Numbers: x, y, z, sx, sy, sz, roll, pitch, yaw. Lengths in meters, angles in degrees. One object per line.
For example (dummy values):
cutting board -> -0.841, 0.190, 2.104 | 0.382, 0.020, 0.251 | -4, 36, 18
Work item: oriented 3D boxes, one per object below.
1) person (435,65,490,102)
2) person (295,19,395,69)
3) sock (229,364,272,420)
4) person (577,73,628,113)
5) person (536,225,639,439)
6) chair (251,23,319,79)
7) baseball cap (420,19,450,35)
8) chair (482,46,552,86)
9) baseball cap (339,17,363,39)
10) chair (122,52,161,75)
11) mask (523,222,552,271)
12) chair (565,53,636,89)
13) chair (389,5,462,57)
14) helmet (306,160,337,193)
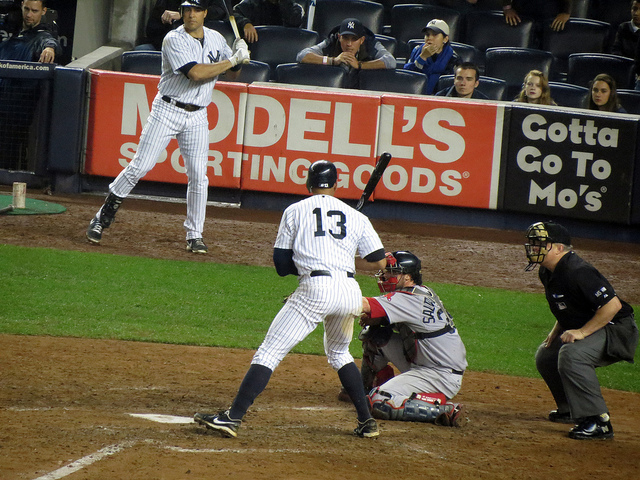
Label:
person -> 2.155, -2.329, 15.071 | 0.728, 0.529, 0.719 | 7, 7, 5
person -> 0.449, -3.034, 15.769 | 1.505, 0.762, 0.629 | 7, 7, 1
sock -> -0.565, 1.217, 8.383 | 0.196, 0.596, 0.171 | 42, -21, -13
person -> 4.206, -2.125, 14.959 | 0.871, 0.681, 0.547 | 3, 6, 20
person -> 2.388, 0.817, 9.195 | 0.921, 1.822, 0.562 | 13, 9, 36
chair -> -0.599, -3.180, 17.040 | 0.868, 1.029, 0.883 | 1, 7, -4
baseball cap -> 1.798, -3.242, 15.506 | 0.347, 0.169, 0.240 | -4, 14, -38
chair -> 3.240, -2.926, 16.649 | 0.754, 0.999, 0.838 | 14, 7, 12
baseball cap -> 0.472, -3.264, 15.596 | 0.374, 0.281, 0.276 | 9, 8, 13
chair -> -2.801, -2.775, 15.893 | 0.430, 0.512, 0.446 | 0, 5, -6
mask -> 1.977, 0.068, 9.286 | 0.213, 0.465, 0.307 | 7, 8, -5
chair -> 4.624, -2.839, 16.762 | 0.779, 0.937, 0.831 | 2, 6, 10
chair -> 1.917, -3.683, 17.814 | 1.000, 1.251, 1.051 | 2, 7, 8
helmet -> 0.028, -0.555, 8.810 | 0.242, 0.323, 0.317 | -2, 33, 5
